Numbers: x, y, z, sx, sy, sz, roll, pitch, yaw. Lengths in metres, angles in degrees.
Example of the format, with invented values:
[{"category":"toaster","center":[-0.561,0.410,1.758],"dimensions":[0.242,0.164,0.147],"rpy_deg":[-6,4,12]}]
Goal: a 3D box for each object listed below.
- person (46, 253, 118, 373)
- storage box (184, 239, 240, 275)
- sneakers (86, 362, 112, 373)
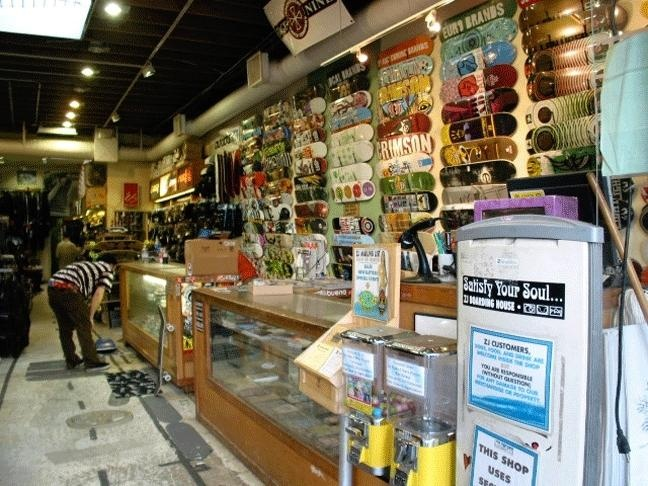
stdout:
[{"category":"person","center":[-3.153,0.921,6.093],"dimensions":[0.785,1.438,0.664],"rpy_deg":[-2,2,-31]},{"category":"storage box","center":[-1.264,0.159,5.271],"dimensions":[0.530,0.419,0.304],"rpy_deg":[1,-1,-29]},{"category":"sneakers","center":[-2.924,1.622,6.072],"dimensions":[0.332,0.152,0.118],"rpy_deg":[-3,5,-24]}]
